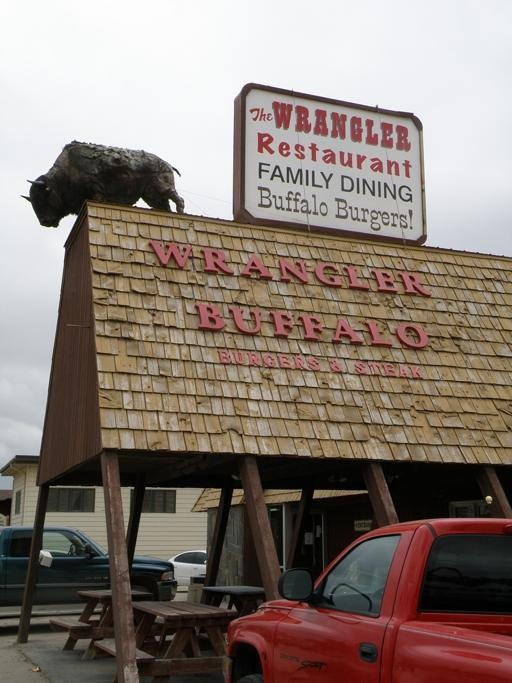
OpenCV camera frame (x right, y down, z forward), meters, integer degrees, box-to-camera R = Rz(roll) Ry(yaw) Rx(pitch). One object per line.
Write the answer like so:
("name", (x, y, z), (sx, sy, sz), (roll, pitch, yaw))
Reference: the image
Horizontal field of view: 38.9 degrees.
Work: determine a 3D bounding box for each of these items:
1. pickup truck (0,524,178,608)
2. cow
("pickup truck", (-3.157, 4.475, 14.633), (3.805, 1.625, 1.564), (1, -12, -18))
("cow", (-2.200, -2.305, 10.434), (2.191, 1.038, 0.794), (-2, -4, 8))
